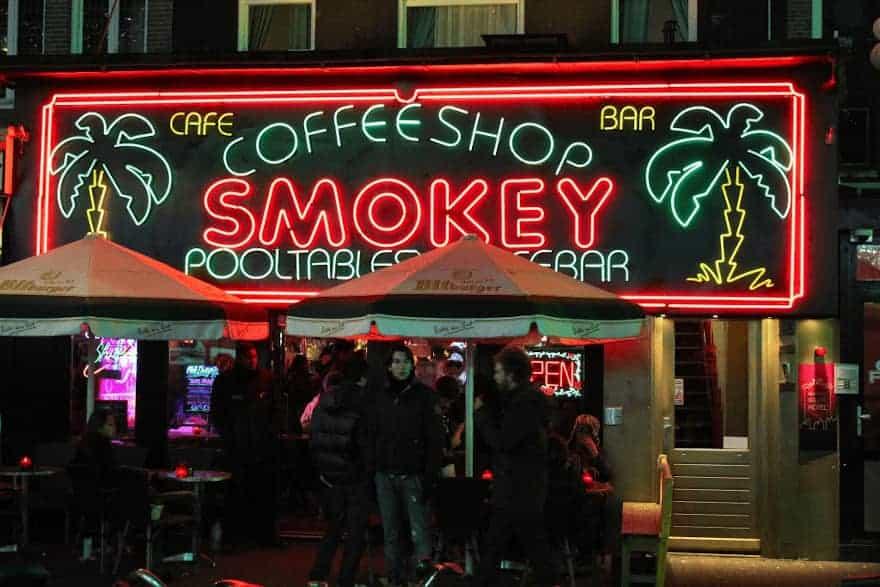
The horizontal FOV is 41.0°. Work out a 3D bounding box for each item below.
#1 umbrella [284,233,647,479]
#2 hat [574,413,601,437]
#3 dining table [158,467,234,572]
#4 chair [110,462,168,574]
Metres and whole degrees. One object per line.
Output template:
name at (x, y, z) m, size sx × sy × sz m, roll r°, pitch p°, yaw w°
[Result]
umbrella at (0.437, 0.631, 14.962) m, size 3.432 × 2.230 × 3.439 m, roll 2°, pitch -4°, yaw -4°
hat at (2.018, 1.761, 15.988) m, size 0.274 × 0.250 × 0.330 m, roll 9°, pitch -29°, yaw 18°
dining table at (-3.069, 2.926, 15.519) m, size 1.240 × 1.327 × 1.229 m, roll -2°, pitch -7°, yaw 15°
chair at (-3.827, 2.864, 14.883) m, size 0.587 × 1.377 × 0.898 m, roll 0°, pitch -5°, yaw -14°
